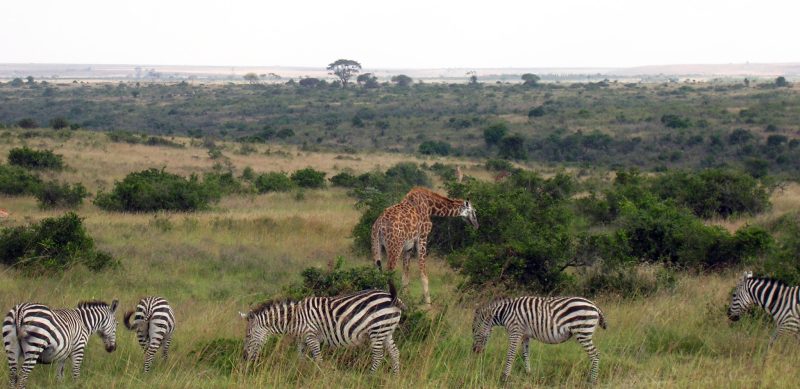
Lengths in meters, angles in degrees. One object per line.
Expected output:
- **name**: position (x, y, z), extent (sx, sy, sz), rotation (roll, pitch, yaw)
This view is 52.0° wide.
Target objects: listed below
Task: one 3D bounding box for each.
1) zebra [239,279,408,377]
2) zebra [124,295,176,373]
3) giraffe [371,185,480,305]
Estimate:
- **zebra**: position (-3.711, 6.752, 42.646), extent (12.034, 6.335, 3.269), rotation (1, -12, -1)
- **zebra**: position (-13.518, 7.708, 45.248), extent (2.160, 3.779, 7.687), rotation (-5, -10, -9)
- **giraffe**: position (1.065, 2.958, 47.110), extent (8.304, 6.380, 2.183), rotation (0, -3, -39)
